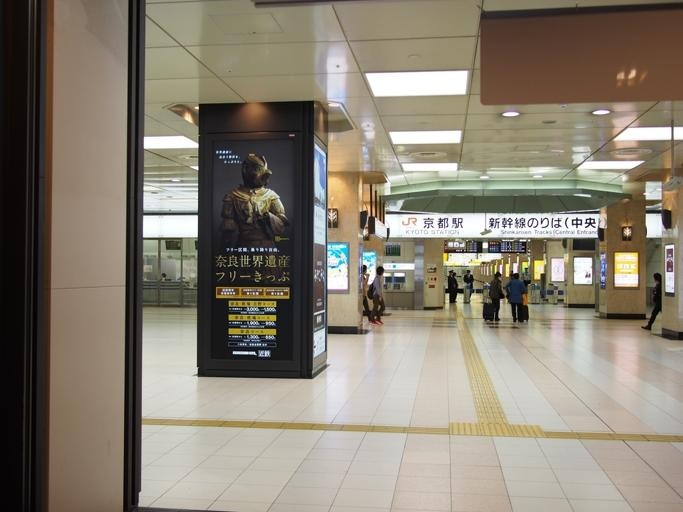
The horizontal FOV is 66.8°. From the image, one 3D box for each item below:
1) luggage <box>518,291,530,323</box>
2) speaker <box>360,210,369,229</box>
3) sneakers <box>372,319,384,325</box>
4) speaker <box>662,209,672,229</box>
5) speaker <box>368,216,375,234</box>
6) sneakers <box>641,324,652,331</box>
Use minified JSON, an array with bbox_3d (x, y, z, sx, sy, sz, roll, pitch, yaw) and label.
[{"bbox_3d":[6.232,1.773,17.821,0.297,0.888,0.745,0,0,29],"label":"luggage"},{"bbox_3d":[0.611,-0.999,14.469,0.159,0.356,0.624,0,0,7],"label":"speaker"},{"bbox_3d":[1.158,2.175,16.893,0.130,0.165,0.390,3,-5,32],"label":"sneakers"},{"bbox_3d":[8.434,-0.947,13.475,0.112,0.548,0.306,0,0,5],"label":"speaker"},{"bbox_3d":[0.888,-0.924,15.573,0.165,0.492,0.517,0,0,5],"label":"speaker"},{"bbox_3d":[8.892,2.106,15.148,0.262,0.196,0.109,6,6,33],"label":"sneakers"}]
